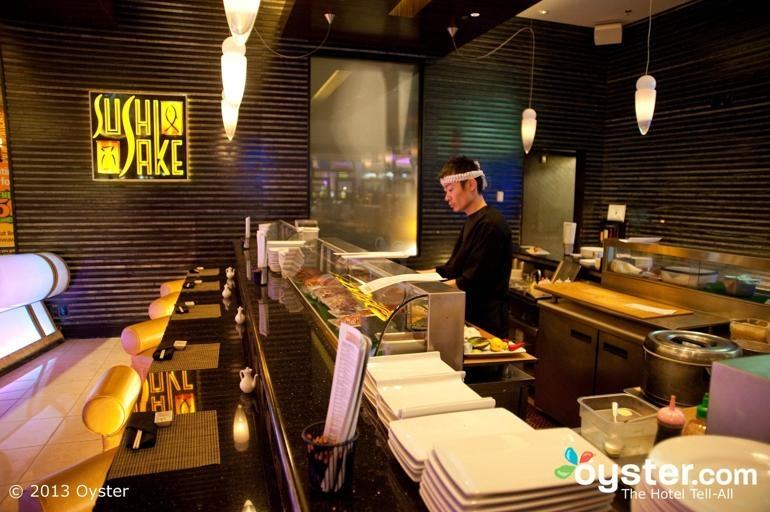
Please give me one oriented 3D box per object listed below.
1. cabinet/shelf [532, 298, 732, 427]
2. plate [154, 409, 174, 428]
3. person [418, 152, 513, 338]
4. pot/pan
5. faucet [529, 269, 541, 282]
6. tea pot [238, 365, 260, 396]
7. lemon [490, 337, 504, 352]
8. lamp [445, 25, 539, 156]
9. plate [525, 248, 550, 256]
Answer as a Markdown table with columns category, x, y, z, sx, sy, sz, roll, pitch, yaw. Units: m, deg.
| category | x | y | z | sx | sy | sz | roll | pitch | yaw |
| --- | --- | --- | --- | --- | --- | --- | --- | --- | --- |
| cabinet/shelf | 1.926 | 0.800 | 4.023 | 0.660 | 1.201 | 1.318 | 4 | 1 | -20 |
| plate | -1.510 | 1.108 | 3.533 | 0.101 | 0.030 | 0.102 | -1 | 18 | -5 |
| person | 0.809 | -0.109 | 4.651 | 0.596 | 1.537 | 0.735 | -3 | 13 | -25 |
| pot/pan | 1.911 | 0.714 | 3.346 | 0.564 | 0.378 | 0.433 | 1 | 5 | -6 |
| faucet | 1.932 | 0.245 | 6.632 | 0.098 | 0.045 | 0.136 | -17 | 33 | 21 |
| tea pot | -0.998 | 0.916 | 3.772 | 0.207 | 0.204 | 0.143 | 0 | -1 | 37 |
| lemon | 0.782 | 0.626 | 3.666 | 0.067 | 0.064 | 0.083 | 2 | 28 | -29 |
| lamp | 1.759 | -2.746 | 8.130 | 1.323 | 2.142 | 2.004 | 6 | 12 | 15 |
| plate | 2.038 | -0.055 | 6.955 | 0.288 | 0.044 | 0.632 | 5 | 12 | 11 |
